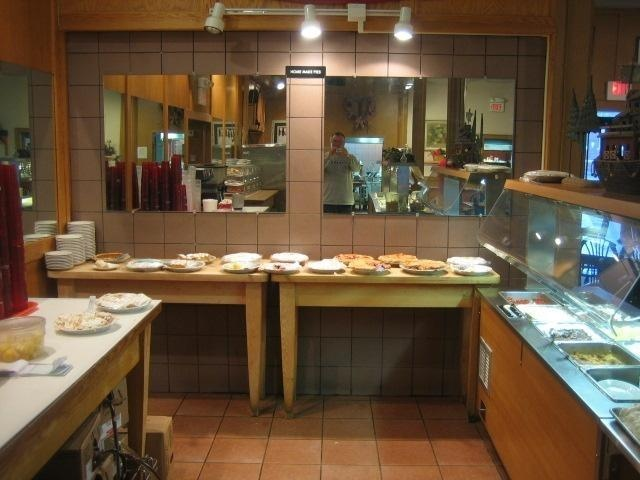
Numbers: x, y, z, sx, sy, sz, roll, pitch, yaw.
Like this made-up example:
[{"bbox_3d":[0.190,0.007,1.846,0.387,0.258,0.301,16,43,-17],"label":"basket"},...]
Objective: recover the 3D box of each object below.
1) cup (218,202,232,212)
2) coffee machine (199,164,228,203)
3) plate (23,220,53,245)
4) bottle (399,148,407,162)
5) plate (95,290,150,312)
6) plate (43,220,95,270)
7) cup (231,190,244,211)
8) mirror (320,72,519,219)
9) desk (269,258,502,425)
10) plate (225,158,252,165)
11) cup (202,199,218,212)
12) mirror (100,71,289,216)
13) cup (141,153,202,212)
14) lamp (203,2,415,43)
[{"bbox_3d":[-0.788,-0.274,4.411,0.083,0.060,0.086,2,3,0],"label":"cup"},{"bbox_3d":[-0.879,-0.471,4.359,0.262,0.334,0.279,0,11,-2],"label":"coffee machine"},{"bbox_3d":[-2.164,-0.071,4.097,0.169,0.099,0.225,1,8,-5],"label":"plate"},{"bbox_3d":[0.662,-0.678,4.248,0.084,0.134,0.066,0,8,10],"label":"bottle"},{"bbox_3d":[-1.139,0.363,3.099,0.158,0.040,0.163,5,9,6],"label":"plate"},{"bbox_3d":[-1.974,0.042,4.189,0.169,0.225,0.558,1,2,-5],"label":"plate"},{"bbox_3d":[-0.679,-0.326,4.383,0.117,0.217,0.121,3,8,0],"label":"cup"},{"bbox_3d":[0.817,-0.811,4.249,1.129,0.886,0.052,0,7,4],"label":"mirror"},{"bbox_3d":[0.481,0.813,4.174,1.705,1.172,0.642,0,-8,9],"label":"desk"},{"bbox_3d":[-0.661,-0.626,4.274,0.213,0.068,0.025,2,14,9],"label":"plate"},{"bbox_3d":[-0.919,-0.290,4.422,0.114,0.091,0.089,2,5,-15],"label":"cup"},{"bbox_3d":[-1.037,-0.814,4.404,0.013,1.255,1.649,3,4,39],"label":"mirror"},{"bbox_3d":[-1.183,-0.496,4.594,0.447,0.590,0.428,1,8,0],"label":"cup"},{"bbox_3d":[-0.080,-1.648,4.019,1.583,0.265,0.423,1,14,2],"label":"lamp"}]
